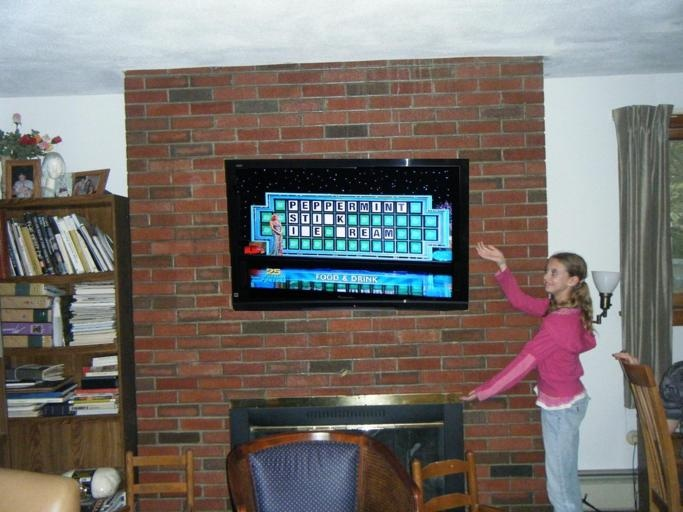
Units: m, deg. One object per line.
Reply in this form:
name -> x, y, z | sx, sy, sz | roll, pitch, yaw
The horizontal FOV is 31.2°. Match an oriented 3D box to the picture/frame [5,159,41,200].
picture/frame -> -2.027, -0.470, 7.766 | 0.291, 0.293, 0.022 | -1, -1, -2

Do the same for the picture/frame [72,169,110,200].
picture/frame -> -1.607, -0.446, 7.828 | 0.266, 0.166, 0.027 | -3, -16, 9

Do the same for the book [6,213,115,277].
book -> -1.796, -0.073, 7.780 | 0.671, 0.391, 0.115 | -2, 7, 0

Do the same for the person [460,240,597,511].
person -> 1.232, 0.779, 7.634 | 0.703, 1.664, 0.435 | -1, 7, 11

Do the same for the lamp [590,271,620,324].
lamp -> 1.654, 0.274, 7.724 | 0.237, 0.304, 0.190 | -6, -7, 22
